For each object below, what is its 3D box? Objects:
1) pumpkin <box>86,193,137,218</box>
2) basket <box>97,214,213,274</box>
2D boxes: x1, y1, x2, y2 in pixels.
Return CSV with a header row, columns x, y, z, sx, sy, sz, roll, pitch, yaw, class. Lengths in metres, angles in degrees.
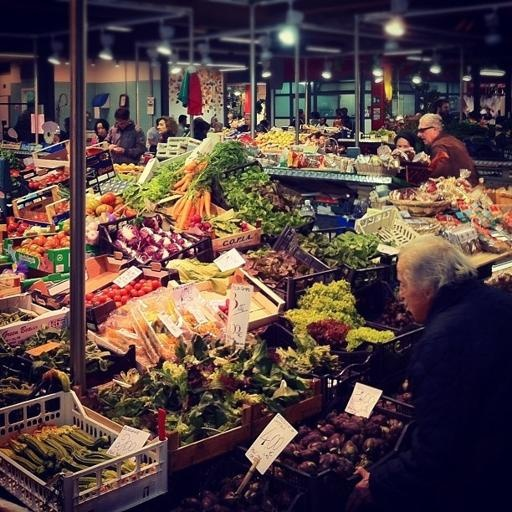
x,y,z,sx,sy,sz,roll,pitch,yaw,class
-1.543,-0.525,4.828,0.426,0.139,0.379,4,25,-2,pumpkin
-0.970,-0.116,4.287,0.697,0.247,0.659,2,5,-38,basket
